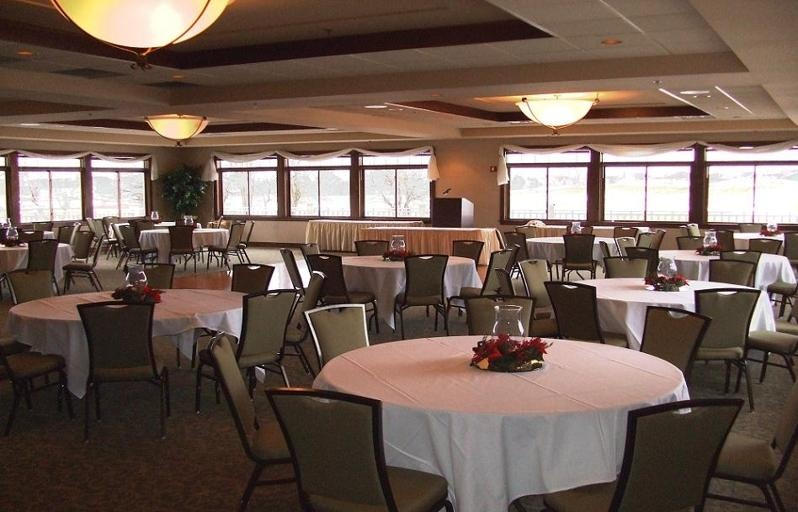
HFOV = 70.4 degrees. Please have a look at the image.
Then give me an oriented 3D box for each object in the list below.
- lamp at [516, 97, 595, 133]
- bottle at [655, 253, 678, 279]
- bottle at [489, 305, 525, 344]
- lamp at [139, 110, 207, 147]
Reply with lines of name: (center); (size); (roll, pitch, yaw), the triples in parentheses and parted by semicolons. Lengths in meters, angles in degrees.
lamp: (2.762, -2.393, 9.865); (1.574, 0.532, 1.382); (-1, 12, -3)
bottle: (2.695, 0.112, 5.710); (0.272, 0.229, 0.258); (0, 6, 21)
bottle: (0.685, 0.424, 3.554); (0.203, 0.238, 0.220); (-2, 3, -6)
lamp: (-4.354, -2.387, 10.948); (1.370, 0.492, 1.197); (-4, 12, -1)
